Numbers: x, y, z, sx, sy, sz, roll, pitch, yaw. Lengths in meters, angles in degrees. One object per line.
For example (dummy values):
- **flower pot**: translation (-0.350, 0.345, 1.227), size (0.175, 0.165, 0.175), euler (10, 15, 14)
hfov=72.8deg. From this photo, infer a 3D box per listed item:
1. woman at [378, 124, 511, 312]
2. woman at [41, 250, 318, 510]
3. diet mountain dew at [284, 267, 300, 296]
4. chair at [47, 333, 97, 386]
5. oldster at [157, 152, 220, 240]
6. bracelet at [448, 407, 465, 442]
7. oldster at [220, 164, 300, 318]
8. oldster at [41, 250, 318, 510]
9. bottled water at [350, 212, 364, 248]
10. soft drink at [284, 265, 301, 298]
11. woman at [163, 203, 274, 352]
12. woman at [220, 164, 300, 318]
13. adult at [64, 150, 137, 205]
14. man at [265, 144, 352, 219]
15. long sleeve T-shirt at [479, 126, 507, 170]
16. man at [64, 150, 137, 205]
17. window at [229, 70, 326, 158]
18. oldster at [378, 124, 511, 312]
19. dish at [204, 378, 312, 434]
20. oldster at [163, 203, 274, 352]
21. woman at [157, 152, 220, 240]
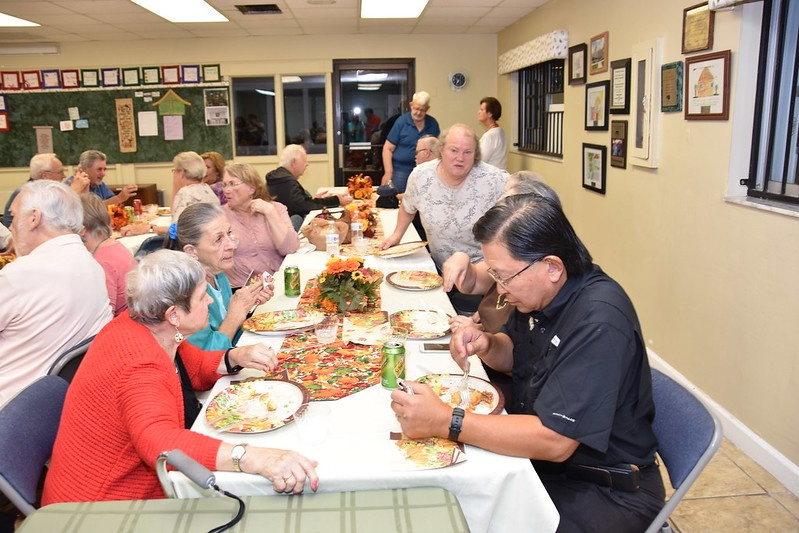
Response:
- **woman**: translation (0.375, -0.137, 4.056), size (0.969, 1.750, 0.521), euler (2, 25, 11)
- **woman**: translation (-0.899, 0.465, 2.165), size (0.716, 1.203, 0.779), euler (-5, 29, -23)
- **diet mountain dew**: translation (-0.602, 0.083, 3.048), size (0.094, 0.166, 0.093), euler (-15, 29, -31)
- **chair**: translation (-1.547, 0.483, 2.516), size (0.106, 0.323, 0.123), euler (25, -2, 24)
- **oldster**: translation (-1.896, -0.616, 4.978), size (0.523, 0.814, 0.502), euler (-1, -1, 14)
- **bracelet**: translation (0.201, 0.554, 1.924), size (0.059, 0.109, 0.108), euler (4, 31, 13)
- **oldster**: translation (-1.070, -0.326, 3.931), size (0.636, 0.832, 0.432), euler (-9, 24, -23)
- **oldster**: translation (-0.899, 0.465, 2.165), size (0.716, 1.203, 0.779), euler (-5, 29, -23)
- **bottled water**: translation (-0.304, -0.272, 3.931), size (0.101, 0.269, 0.103), euler (2, 8, 6)
- **soft drink**: translation (-0.603, 0.088, 3.056), size (0.110, 0.196, 0.111), euler (0, 23, 0)
- **woman**: translation (-0.921, 0.045, 2.806), size (0.456, 0.897, 0.427), euler (-7, 34, -5)
- **woman**: translation (-1.085, -0.320, 3.906), size (0.641, 0.830, 0.454), euler (-17, 33, -37)
- **adult**: translation (-3.166, -0.888, 5.794), size (0.722, 0.650, 0.506), euler (-4, 6, -3)
- **man**: translation (-0.952, -0.549, 5.663), size (0.809, 1.389, 0.694), euler (-2, 23, -14)
- **long sleeve T-shirt**: translation (1.234, -1.526, 7.052), size (0.303, 0.570, 0.586), euler (7, 23, 30)
- **man**: translation (-3.165, -0.899, 5.807), size (0.699, 0.621, 0.486), euler (-4, 11, -5)
- **window**: translation (-1.799, -2.298, 8.316), size (1.659, 1.438, 0.133), euler (2, 10, 9)
- **oldster**: translation (0.397, -0.252, 4.180), size (1.012, 1.761, 0.561), euler (-2, 48, 7)
- **dish**: translation (-0.523, 0.537, 2.101), size (0.385, 0.059, 0.397), euler (0, 17, 5)
- **oldster**: translation (-0.921, 0.045, 2.806), size (0.456, 0.897, 0.427), euler (-7, 34, -5)
- **woman**: translation (-1.903, -0.607, 4.995), size (0.553, 0.854, 0.529), euler (-3, -4, 11)
